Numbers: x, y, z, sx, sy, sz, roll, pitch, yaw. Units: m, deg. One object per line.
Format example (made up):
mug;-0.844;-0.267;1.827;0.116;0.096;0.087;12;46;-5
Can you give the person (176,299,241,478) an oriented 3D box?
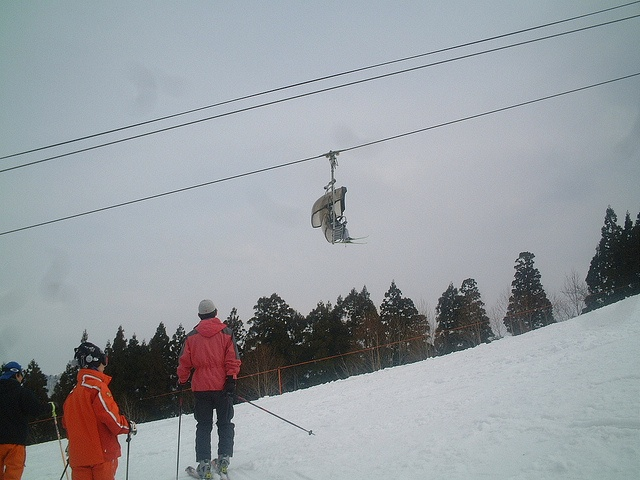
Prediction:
person;-1.499;2.024;8.031;0.852;1.596;0.668;-6;-3;-11

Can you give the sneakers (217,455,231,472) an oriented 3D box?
sneakers;-1.288;3.034;7.846;0.119;0.205;0.169;8;1;-14

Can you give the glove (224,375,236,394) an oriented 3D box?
glove;-1.212;2.009;7.944;0.150;0.222;0.217;-5;-11;-2

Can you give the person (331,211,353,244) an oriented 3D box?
person;0.561;-0.338;14.287;0.460;0.893;0.465;4;-16;16
